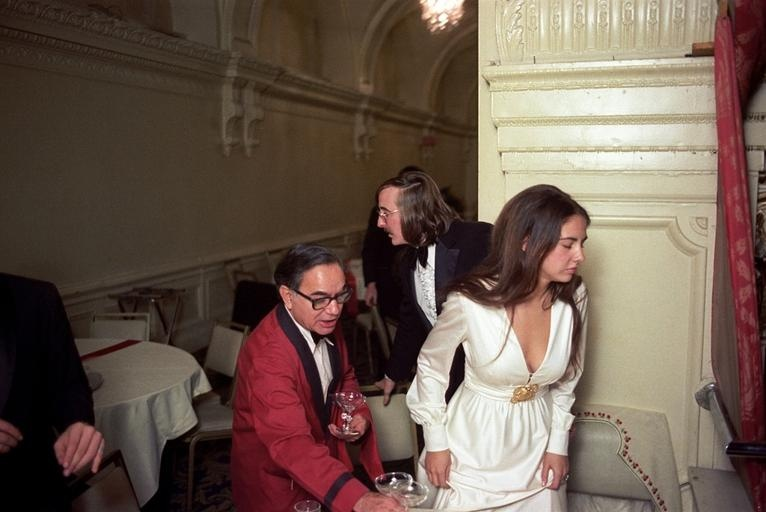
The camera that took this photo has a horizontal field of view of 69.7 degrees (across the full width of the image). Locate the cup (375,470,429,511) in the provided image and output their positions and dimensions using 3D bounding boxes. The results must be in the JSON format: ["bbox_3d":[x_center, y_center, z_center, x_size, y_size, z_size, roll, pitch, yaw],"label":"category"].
[{"bbox_3d":[0.072,0.964,2.198,0.190,0.182,0.166,-1,5,-14],"label":"cup"}]

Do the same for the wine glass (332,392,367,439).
[{"bbox_3d":[-0.173,0.754,2.673,0.165,0.197,0.176,2,-3,34],"label":"wine glass"}]

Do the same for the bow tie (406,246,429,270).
[{"bbox_3d":[0.181,0.004,3.002,0.109,0.116,0.046,-2,-2,41],"label":"bow tie"}]
